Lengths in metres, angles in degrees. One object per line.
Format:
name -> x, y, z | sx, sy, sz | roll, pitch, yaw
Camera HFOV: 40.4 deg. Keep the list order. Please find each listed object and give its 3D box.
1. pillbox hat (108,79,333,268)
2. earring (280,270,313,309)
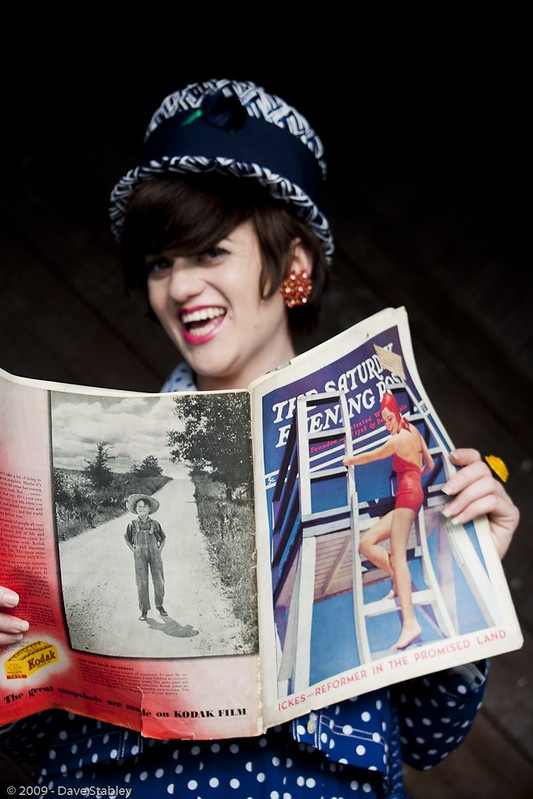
pillbox hat -> -0.057, -0.293, 0.894 | 0.224, 0.122, 0.245 | 14, 10, 38
earring -> 0.037, -0.133, 0.897 | 0.016, 0.045, 0.036 | 20, 28, 35
